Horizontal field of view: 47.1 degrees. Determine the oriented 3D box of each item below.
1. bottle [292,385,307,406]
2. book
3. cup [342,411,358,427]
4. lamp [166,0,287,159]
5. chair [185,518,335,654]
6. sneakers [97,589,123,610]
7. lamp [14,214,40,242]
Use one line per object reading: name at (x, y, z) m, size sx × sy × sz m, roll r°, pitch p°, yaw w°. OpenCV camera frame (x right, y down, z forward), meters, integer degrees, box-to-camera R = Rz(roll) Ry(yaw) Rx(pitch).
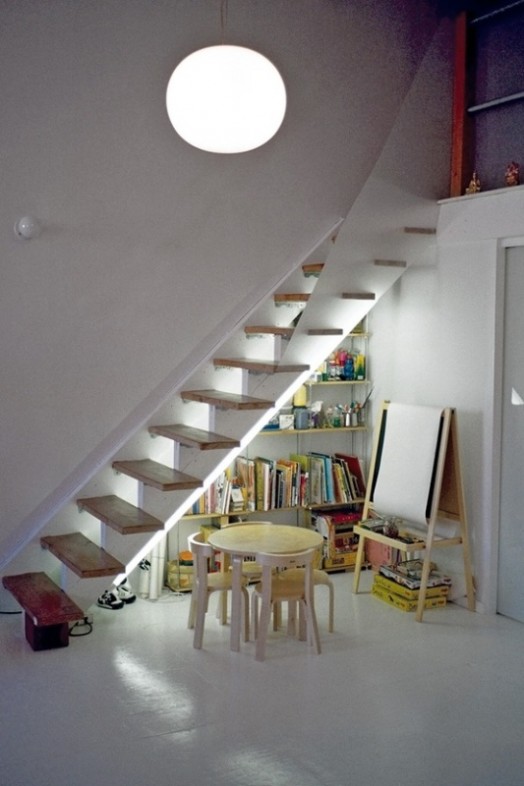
bottle at (0.220, 0.016, 3.510) m, size 0.084 × 0.120 × 0.067 m, roll 0°, pitch -4°, yaw -16°
book at (0.088, 0.507, 3.417) m, size 1.142 × 0.296 × 0.264 m, roll 2°, pitch -5°, yaw -36°
cup at (0.547, 0.160, 3.714) m, size 0.077 × 0.090 × 0.098 m, roll 0°, pitch 1°, yaw -22°
lamp at (-0.082, -0.612, 1.281) m, size 0.241 × 0.143 × 0.230 m, roll -2°, pitch -4°, yaw 10°
chair at (-0.014, 0.821, 2.506) m, size 0.494 × 0.376 × 0.518 m, roll -4°, pitch 8°, yaw -35°
sneakers at (-0.722, 0.982, 2.857) m, size 0.118 × 0.081 × 0.082 m, roll 0°, pitch -4°, yaw -14°
lamp at (-0.958, -0.676, 2.439) m, size 0.109 × 0.112 × 0.026 m, roll -3°, pitch 10°, yaw -33°
